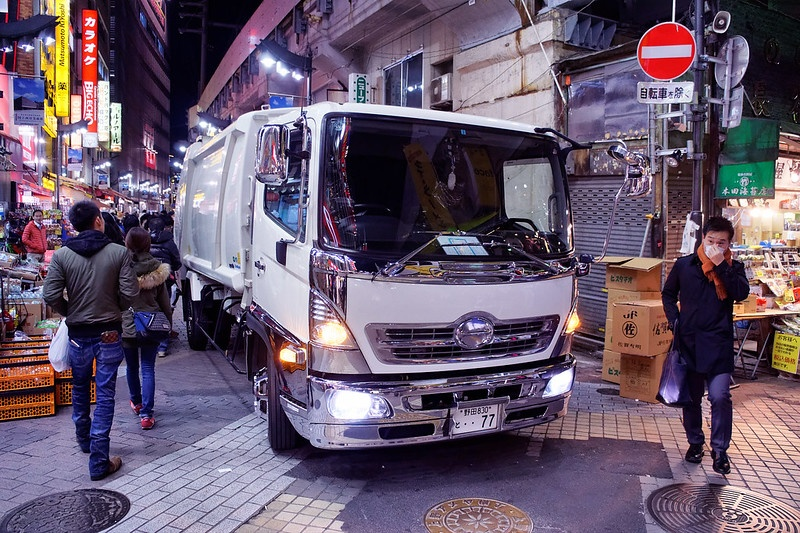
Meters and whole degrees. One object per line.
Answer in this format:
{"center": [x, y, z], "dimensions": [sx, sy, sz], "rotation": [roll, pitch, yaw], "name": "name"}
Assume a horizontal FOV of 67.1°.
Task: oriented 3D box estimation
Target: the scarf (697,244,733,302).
{"center": [3.771, 0.078, 7.244], "dimensions": [0.425, 0.574, 0.165], "rotation": [2, 1, -11], "name": "scarf"}

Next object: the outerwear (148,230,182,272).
{"center": [-4.428, -0.294, 11.369], "dimensions": [0.565, 0.723, 0.718], "rotation": [-14, 18, -14], "name": "outerwear"}

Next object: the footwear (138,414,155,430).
{"center": [-3.444, 2.116, 8.224], "dimensions": [0.105, 0.123, 0.265], "rotation": [1, 10, -11], "name": "footwear"}

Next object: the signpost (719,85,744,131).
{"center": [5.847, -2.787, 10.599], "dimensions": [0.324, 0.700, 1.098], "rotation": [7, 16, 27], "name": "signpost"}

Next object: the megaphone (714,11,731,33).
{"center": [5.559, -4.200, 10.406], "dimensions": [0.331, 0.256, 0.401], "rotation": [-15, 10, 10], "name": "megaphone"}

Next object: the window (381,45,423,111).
{"center": [0.103, -5.893, 19.573], "dimensions": [0.087, 1.457, 2.306], "rotation": [-8, 14, -33], "name": "window"}

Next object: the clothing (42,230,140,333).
{"center": [-3.691, 0.147, 7.212], "dimensions": [1.005, 1.113, 0.466], "rotation": [-7, 15, -25], "name": "clothing"}

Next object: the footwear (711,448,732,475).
{"center": [3.866, 2.348, 7.235], "dimensions": [0.159, 0.144, 0.342], "rotation": [0, 1, 11], "name": "footwear"}

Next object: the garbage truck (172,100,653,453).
{"center": [-0.941, -0.036, 9.496], "dimensions": [3.253, 2.949, 6.478], "rotation": [-1, 1, -24], "name": "garbage truck"}

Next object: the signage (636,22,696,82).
{"center": [4.271, -3.433, 9.650], "dimensions": [0.886, 0.910, 0.032], "rotation": [4, -1, 17], "name": "signage"}

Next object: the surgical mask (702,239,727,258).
{"center": [3.780, -0.181, 7.218], "dimensions": [0.209, 0.146, 0.227], "rotation": [6, -4, 18], "name": "surgical mask"}

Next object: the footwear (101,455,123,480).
{"center": [-3.410, 2.375, 7.178], "dimensions": [0.078, 0.090, 0.229], "rotation": [15, 15, 5], "name": "footwear"}

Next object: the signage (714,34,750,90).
{"center": [5.725, -3.503, 10.415], "dimensions": [0.477, 0.889, 0.537], "rotation": [7, 15, 26], "name": "signage"}
